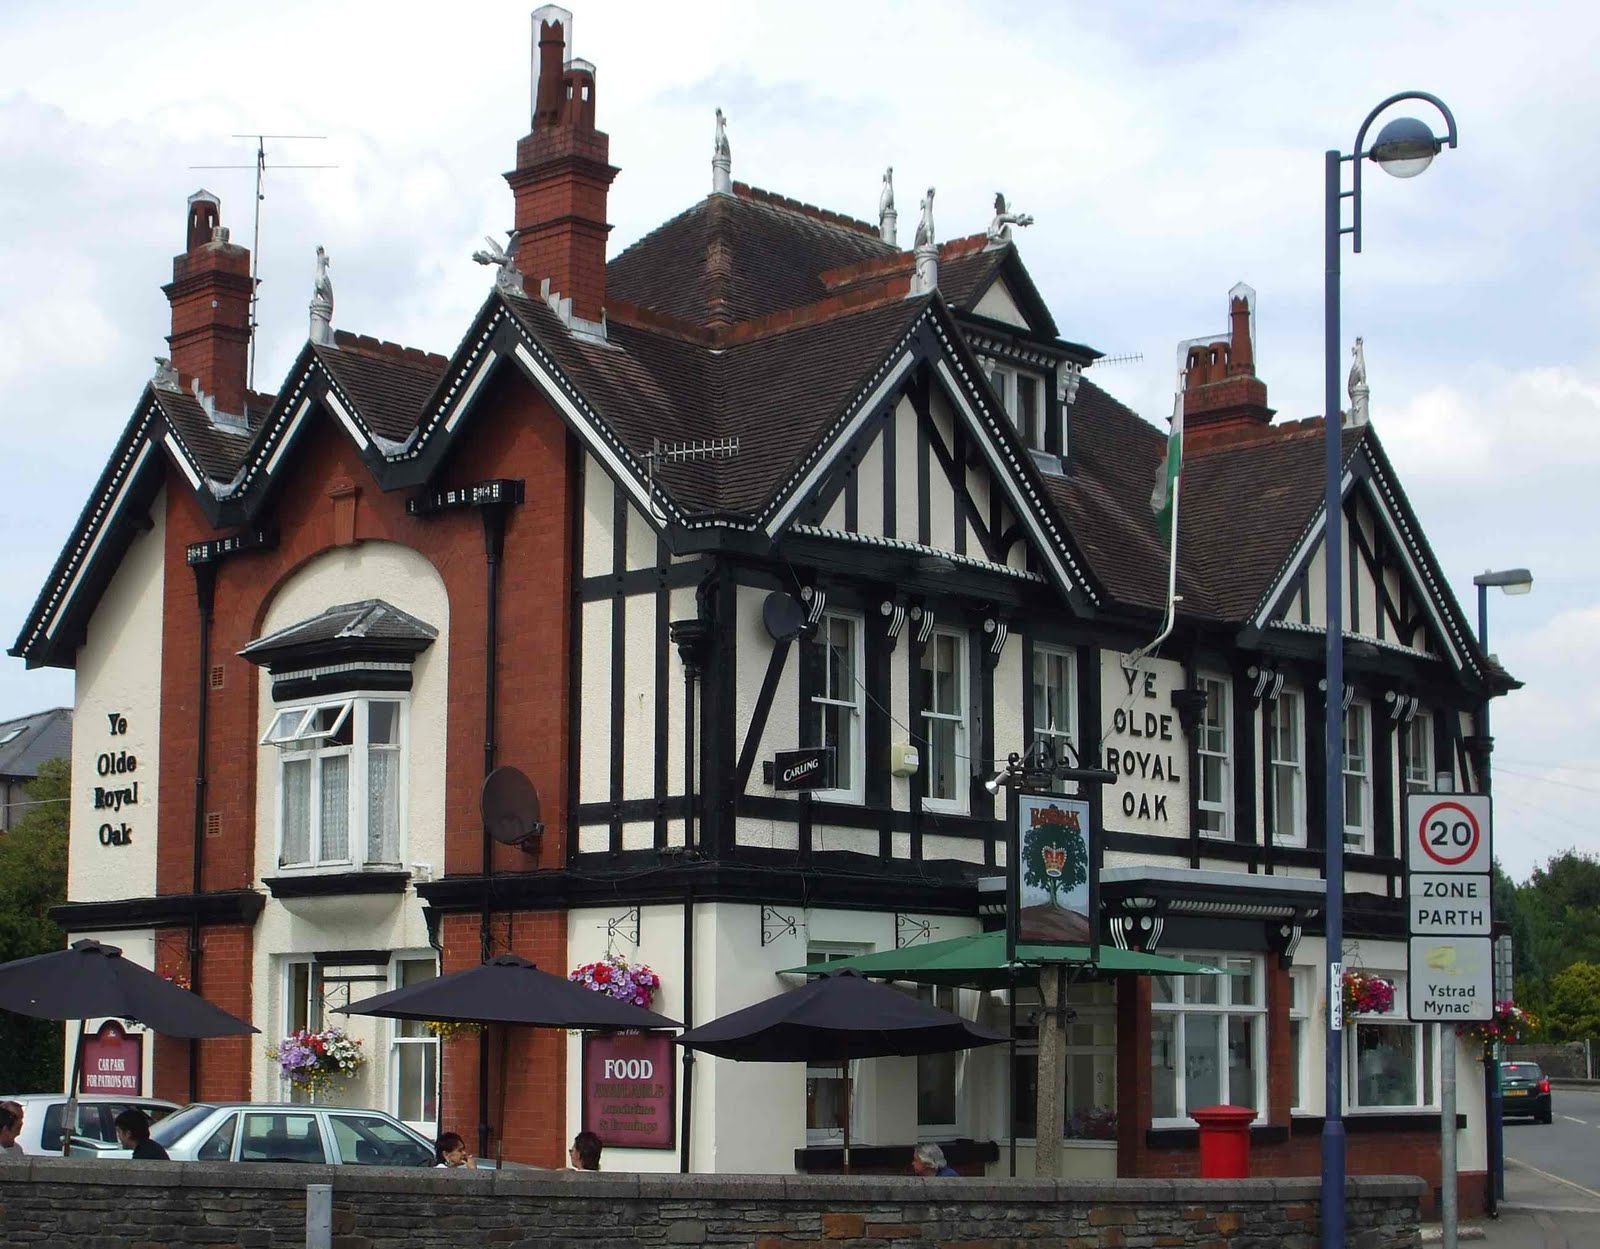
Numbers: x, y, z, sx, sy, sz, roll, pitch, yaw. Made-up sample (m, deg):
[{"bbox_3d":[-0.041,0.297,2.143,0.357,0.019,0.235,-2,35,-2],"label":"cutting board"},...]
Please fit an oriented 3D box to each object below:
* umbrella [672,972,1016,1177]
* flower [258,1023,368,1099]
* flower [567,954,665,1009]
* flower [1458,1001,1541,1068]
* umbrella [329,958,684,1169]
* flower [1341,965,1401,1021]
[{"bbox_3d":[0.439,5.647,46.847,2.633,2.876,3.459,8,7,42],"label":"umbrella"},{"bbox_3d":[-6.495,6.009,52.547,0.870,1.244,1.114,-1,-6,18],"label":"flower"},{"bbox_3d":[-2.292,4.586,49.405,0.674,0.396,0.686,4,0,31],"label":"flower"},{"bbox_3d":[10.586,6.077,57.866,1.131,0.940,1.373,1,6,-17],"label":"flower"},{"bbox_3d":[-3.619,5.217,47.120,1.929,1.955,2.159,9,-11,-37],"label":"umbrella"},{"bbox_3d":[8.214,5.379,55.850,0.733,0.912,0.811,0,-2,-7],"label":"flower"}]
